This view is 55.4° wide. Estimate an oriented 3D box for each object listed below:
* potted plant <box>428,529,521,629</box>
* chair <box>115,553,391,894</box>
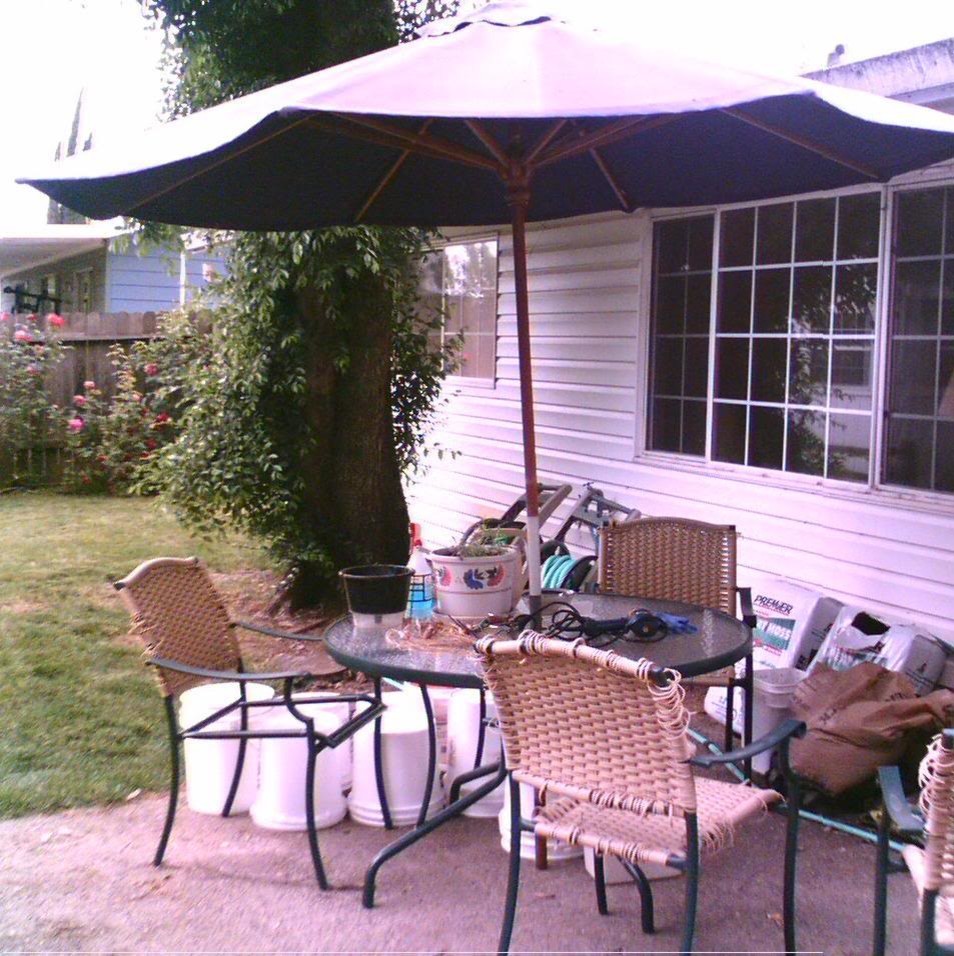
[{"bbox_3d":[-0.005,0.293,2.594,0.184,0.224,0.245,-2,-4,23],"label":"potted plant"},{"bbox_3d":[-0.805,0.731,3.267,0.918,1.343,0.865,-2,2,10],"label":"chair"}]
